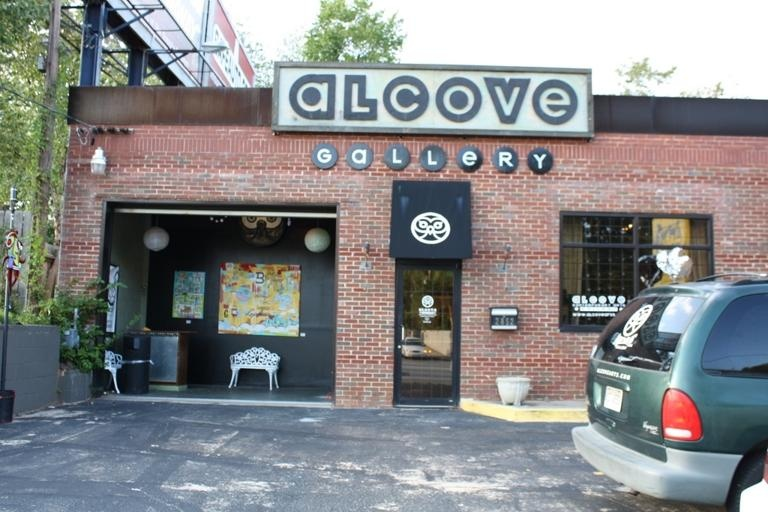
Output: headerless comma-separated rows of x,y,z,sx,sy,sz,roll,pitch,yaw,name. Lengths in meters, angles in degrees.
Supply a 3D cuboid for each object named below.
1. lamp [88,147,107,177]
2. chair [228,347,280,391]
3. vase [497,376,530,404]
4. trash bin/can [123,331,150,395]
-6.107,-2.044,14.903,0.329,0.621,0.506,0,1,-23,lamp
-3.232,2.861,17.452,0.931,0.784,0.384,-1,-12,3,chair
2.634,2.688,14.077,0.581,0.433,0.587,-2,-4,9,vase
-5.597,2.447,15.705,0.591,1.297,0.620,0,1,-21,trash bin/can
